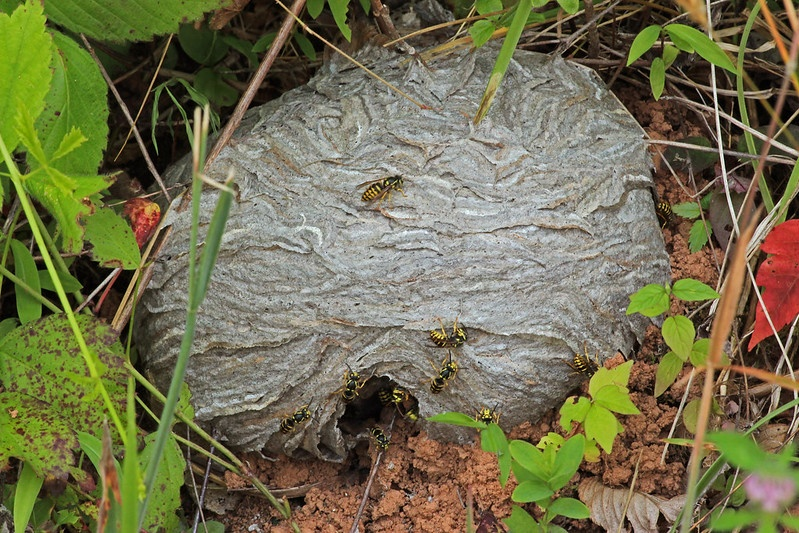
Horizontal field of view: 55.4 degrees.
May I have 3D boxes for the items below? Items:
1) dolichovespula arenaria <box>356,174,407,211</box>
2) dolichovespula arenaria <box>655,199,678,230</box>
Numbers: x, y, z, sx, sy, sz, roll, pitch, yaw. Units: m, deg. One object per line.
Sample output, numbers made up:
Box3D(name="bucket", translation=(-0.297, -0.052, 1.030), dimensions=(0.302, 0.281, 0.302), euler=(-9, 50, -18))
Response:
Box3D(name="dolichovespula arenaria", translation=(-0.087, -0.375, 3.803), dimensions=(0.199, 0.070, 0.141), euler=(-20, 76, -3))
Box3D(name="dolichovespula arenaria", translation=(1.427, -0.290, 4.103), dimensions=(0.048, 0.163, 0.119), euler=(-13, 59, 18))
